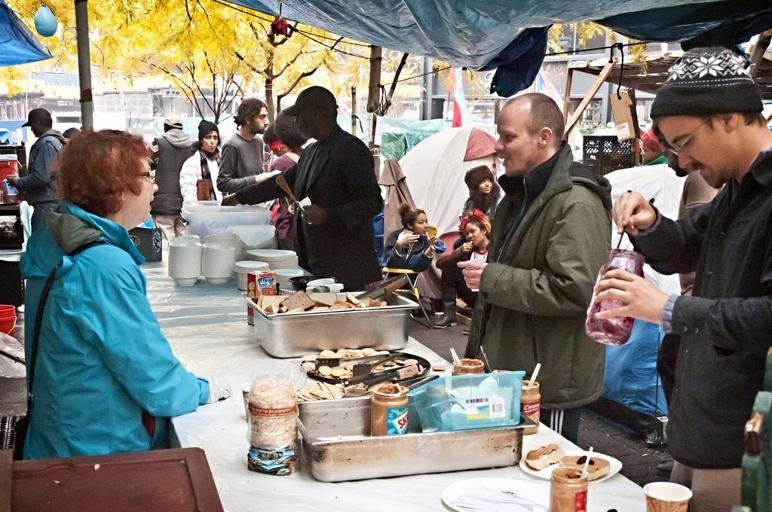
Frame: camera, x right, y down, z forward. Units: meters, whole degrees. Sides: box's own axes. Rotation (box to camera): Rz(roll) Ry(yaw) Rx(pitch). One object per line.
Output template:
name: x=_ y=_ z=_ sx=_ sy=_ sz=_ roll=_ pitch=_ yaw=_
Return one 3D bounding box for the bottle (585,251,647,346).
bottle: x=0.816 y=0.159 z=2.184 sx=0.272 sy=0.175 sz=0.393 roll=10 pitch=-17 yaw=-3

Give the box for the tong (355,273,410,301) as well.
tong: x=0.028 y=0.169 z=3.424 sx=0.195 sy=0.046 sz=0.191 roll=-26 pitch=-7 yaw=21

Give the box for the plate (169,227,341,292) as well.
plate: x=-1.090 y=-0.069 z=4.719 sx=1.096 sy=0.512 sz=1.272 roll=-2 pitch=13 yaw=-23

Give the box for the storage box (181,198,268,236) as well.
storage box: x=-1.475 y=-0.368 z=5.336 sx=0.565 sy=0.192 sz=0.382 roll=-2 pitch=5 yaw=-15

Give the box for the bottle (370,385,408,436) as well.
bottle: x=0.013 y=0.569 z=2.201 sx=0.134 sy=0.169 sz=0.125 roll=1 pitch=5 yaw=0

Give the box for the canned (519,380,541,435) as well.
canned: x=0.570 y=0.628 z=2.437 sx=0.142 sy=0.196 sz=0.133 roll=3 pitch=-1 yaw=0

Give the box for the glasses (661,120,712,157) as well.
glasses: x=1.091 y=-0.442 z=2.120 sx=0.118 sy=0.035 sz=0.111 roll=-37 pitch=-4 yaw=-5

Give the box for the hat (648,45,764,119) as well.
hat: x=1.147 y=-0.614 z=2.083 sx=0.330 sy=0.230 sz=0.151 roll=8 pitch=17 yaw=28
